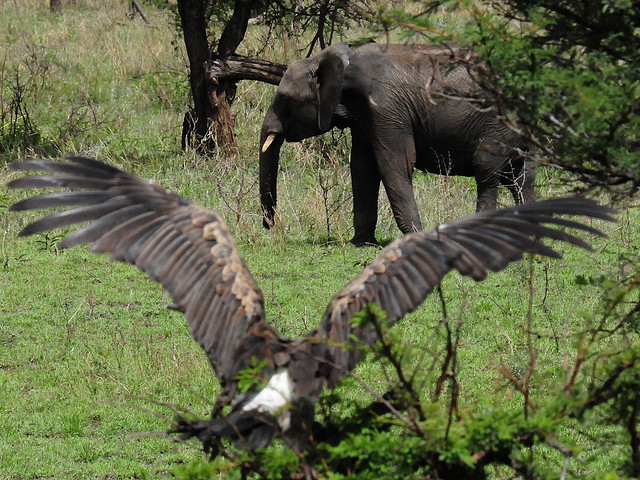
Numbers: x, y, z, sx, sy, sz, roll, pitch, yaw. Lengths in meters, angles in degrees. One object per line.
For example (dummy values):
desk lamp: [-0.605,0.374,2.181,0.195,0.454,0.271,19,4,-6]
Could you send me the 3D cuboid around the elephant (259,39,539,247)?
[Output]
elephant: [0.912,-1.057,9.393,3.299,2.402,1.360,1,14,9]
